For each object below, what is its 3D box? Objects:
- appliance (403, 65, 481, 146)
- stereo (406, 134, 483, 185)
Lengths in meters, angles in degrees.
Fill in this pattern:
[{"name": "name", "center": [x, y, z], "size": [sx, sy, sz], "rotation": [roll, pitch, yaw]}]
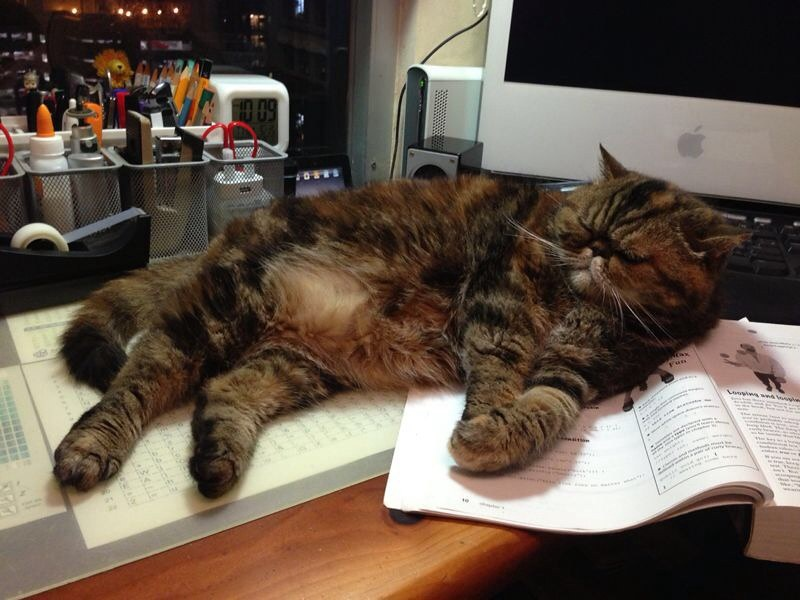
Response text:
[{"name": "appliance", "center": [0.125, -0.521, 1.642], "size": [0.329, 0.206, 0.089], "rotation": [-16, 25, -39]}, {"name": "stereo", "center": [0.124, -0.396, 1.586], "size": [0.127, 0.135, 0.191], "rotation": [8, 38, 36]}]
